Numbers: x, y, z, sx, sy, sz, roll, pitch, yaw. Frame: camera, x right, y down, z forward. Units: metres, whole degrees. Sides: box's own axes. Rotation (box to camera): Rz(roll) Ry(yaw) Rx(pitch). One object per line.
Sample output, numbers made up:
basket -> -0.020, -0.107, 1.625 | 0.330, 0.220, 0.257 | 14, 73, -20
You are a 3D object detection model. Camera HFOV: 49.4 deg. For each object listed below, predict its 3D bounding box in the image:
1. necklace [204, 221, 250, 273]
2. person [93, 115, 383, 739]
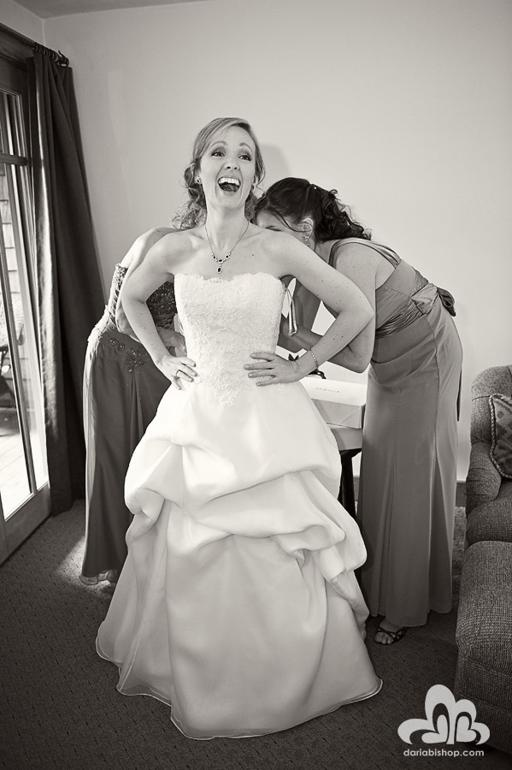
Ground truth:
necklace -> -0.074, -0.367, 1.483 | 0.117, 0.164, 0.016 | 5, 1, 25
person -> -0.084, 0.075, 1.657 | 0.766, 1.583, 0.706 | 18, 21, 41
